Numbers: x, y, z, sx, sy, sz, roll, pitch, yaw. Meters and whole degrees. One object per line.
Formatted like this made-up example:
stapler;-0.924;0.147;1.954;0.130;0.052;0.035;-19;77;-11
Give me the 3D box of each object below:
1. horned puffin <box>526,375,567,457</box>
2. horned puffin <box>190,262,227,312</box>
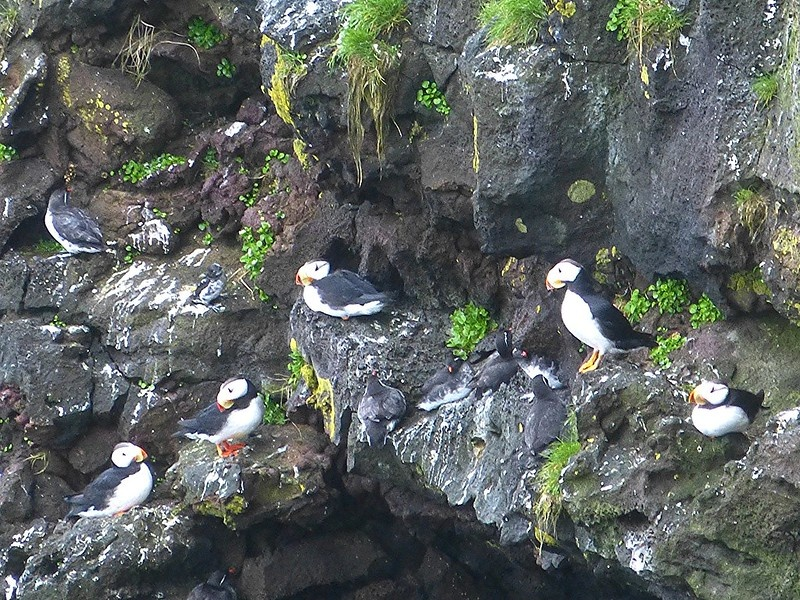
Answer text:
horned puffin;1.623;1.281;13.351;0.423;0.596;0.871;0;57;32
horned puffin;-2.727;-0.304;16.840;0.544;0.718;0.413;12;28;13
